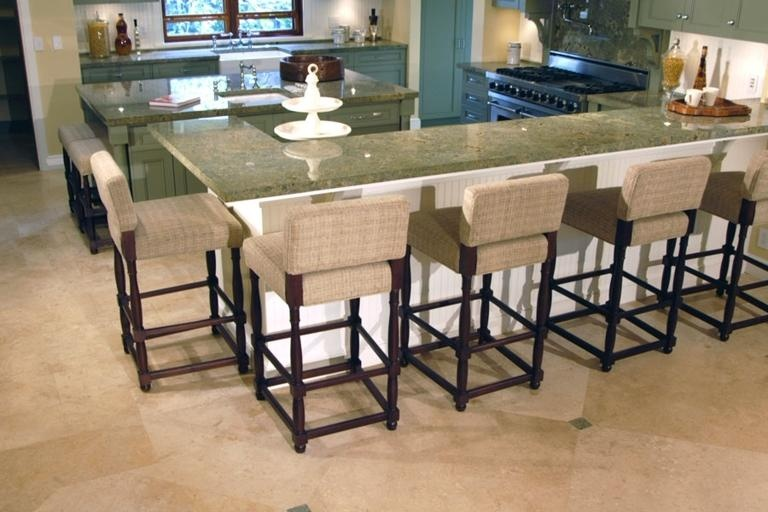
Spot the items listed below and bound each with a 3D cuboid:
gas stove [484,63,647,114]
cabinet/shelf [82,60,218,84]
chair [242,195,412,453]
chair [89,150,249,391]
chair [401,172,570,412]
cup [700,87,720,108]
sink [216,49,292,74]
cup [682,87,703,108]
[{"bbox_3d":[1.839,-1.698,6.533,0.770,0.480,1.535,-14,28,-27],"label":"gas stove"},{"bbox_3d":[-2.634,-2.122,7.166,1.464,0.203,0.128,-10,27,-19],"label":"cabinet/shelf"},{"bbox_3d":[-0.328,0.307,3.583,0.890,1.380,0.714,-7,27,-13],"label":"chair"},{"bbox_3d":[-1.371,0.061,4.033,0.836,1.314,0.718,-9,22,-28],"label":"chair"},{"bbox_3d":[0.547,0.140,3.868,0.708,1.358,0.844,-20,31,-33],"label":"chair"},{"bbox_3d":[2.399,-1.165,4.621,0.118,0.119,0.169,-2,20,7],"label":"cup"},{"bbox_3d":[-1.593,-2.397,7.742,0.831,0.206,0.433,-5,25,-10],"label":"sink"},{"bbox_3d":[2.243,-1.153,4.582,0.141,0.108,0.143,-1,25,0],"label":"cup"}]
